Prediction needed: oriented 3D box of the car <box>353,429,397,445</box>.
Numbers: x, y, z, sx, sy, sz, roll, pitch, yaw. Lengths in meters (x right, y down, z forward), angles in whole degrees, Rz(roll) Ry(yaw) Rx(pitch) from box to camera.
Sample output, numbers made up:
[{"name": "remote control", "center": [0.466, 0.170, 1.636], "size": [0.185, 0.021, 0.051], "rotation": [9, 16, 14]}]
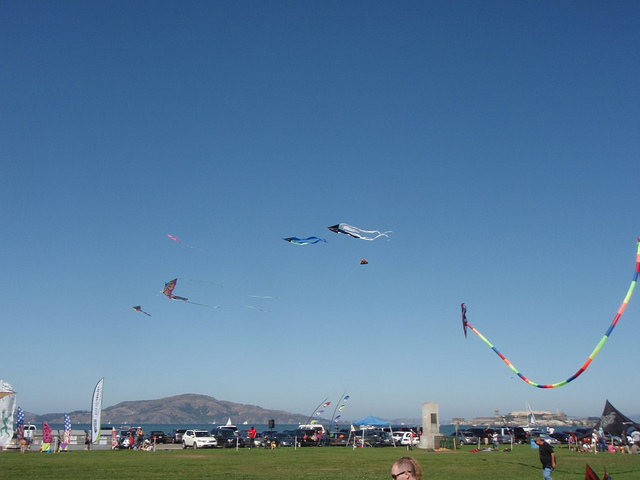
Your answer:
[{"name": "car", "center": [6.344, 21.869, 71.998], "size": [3.712, 1.627, 6.914], "rotation": [-2, -17, -1]}]

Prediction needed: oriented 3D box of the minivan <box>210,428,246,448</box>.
[{"name": "minivan", "center": [-8.705, 19.664, 64.698], "size": [2.533, 1.742, 5.510], "rotation": [10, -20, -31]}]

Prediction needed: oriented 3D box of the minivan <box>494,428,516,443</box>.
[{"name": "minivan", "center": [19.732, 20.503, 68.251], "size": [1.539, 1.477, 7.286], "rotation": [-8, -18, 14]}]

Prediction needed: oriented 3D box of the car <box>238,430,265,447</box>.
[{"name": "car", "center": [-6.820, 21.028, 67.231], "size": [1.864, 1.205, 3.293], "rotation": [3, -4, -27]}]

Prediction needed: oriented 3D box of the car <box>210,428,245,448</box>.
[{"name": "car", "center": [-8.505, 19.576, 64.178], "size": [2.459, 1.767, 5.587], "rotation": [9, -20, -30]}]

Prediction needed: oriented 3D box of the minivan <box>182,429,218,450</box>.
[{"name": "minivan", "center": [-11.467, 18.905, 61.804], "size": [1.780, 1.428, 3.340], "rotation": [11, -23, -33]}]

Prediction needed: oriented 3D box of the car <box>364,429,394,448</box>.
[{"name": "car", "center": [6.522, 21.820, 71.326], "size": [1.744, 1.298, 2.814], "rotation": [14, -16, -41]}]

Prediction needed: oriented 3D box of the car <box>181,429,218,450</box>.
[{"name": "car", "center": [-11.417, 18.943, 61.751], "size": [1.846, 1.480, 3.412], "rotation": [12, -24, -34]}]

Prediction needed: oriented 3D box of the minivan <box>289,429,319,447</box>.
[{"name": "minivan", "center": [-1.787, 20.583, 67.605], "size": [2.858, 1.301, 1.691], "rotation": [0, -12, 24]}]
